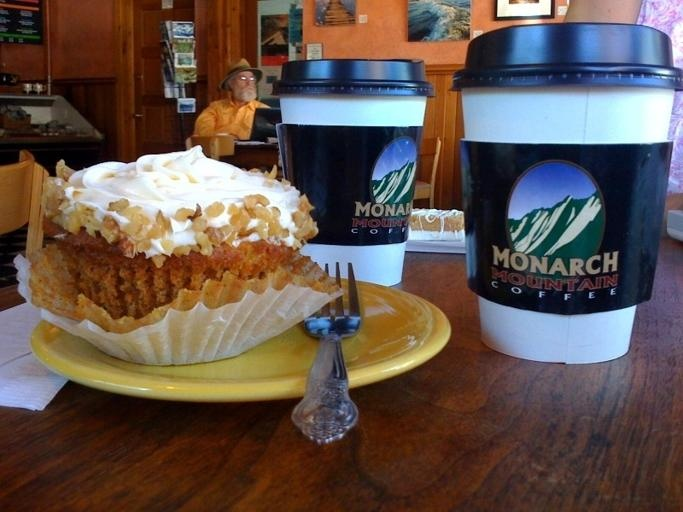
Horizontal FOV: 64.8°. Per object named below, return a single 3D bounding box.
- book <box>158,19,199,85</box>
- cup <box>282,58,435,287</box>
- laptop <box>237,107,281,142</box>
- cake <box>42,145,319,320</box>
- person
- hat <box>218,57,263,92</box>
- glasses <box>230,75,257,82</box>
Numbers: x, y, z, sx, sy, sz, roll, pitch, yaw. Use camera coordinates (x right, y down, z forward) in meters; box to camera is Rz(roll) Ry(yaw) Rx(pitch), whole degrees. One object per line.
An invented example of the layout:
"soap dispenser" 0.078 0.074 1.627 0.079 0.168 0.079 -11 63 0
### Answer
"book" -1.816 -2.300 6.073 0.386 0.654 0.163 -3 17 -4
"cup" 0.008 -0.103 0.715 0.225 0.268 0.201 -4 11 -23
"laptop" -0.521 -0.892 3.640 0.202 0.210 0.419 -5 17 -8
"cake" -0.147 -0.021 0.498 0.194 0.101 0.169 -1 11 -13
"person" -0.984 -1.398 5.193 0.794 1.055 0.659 4 16 -5
"hat" -0.999 -1.723 5.155 0.400 0.146 0.348 -14 2 5
"glasses" -0.908 -1.691 5.089 0.209 0.051 0.067 -9 18 -24
